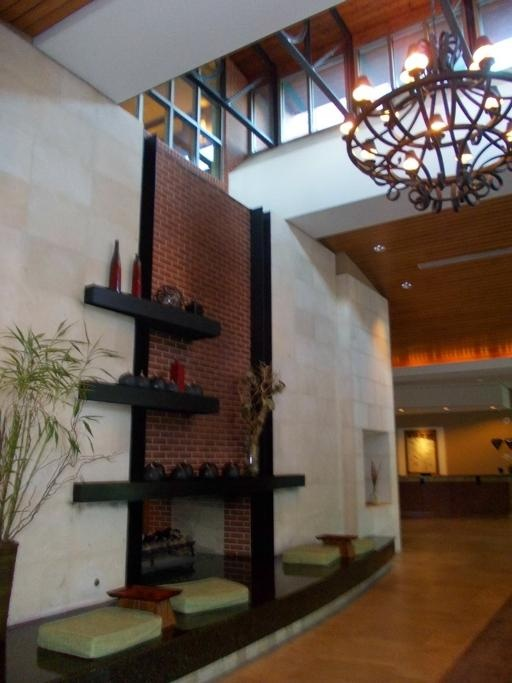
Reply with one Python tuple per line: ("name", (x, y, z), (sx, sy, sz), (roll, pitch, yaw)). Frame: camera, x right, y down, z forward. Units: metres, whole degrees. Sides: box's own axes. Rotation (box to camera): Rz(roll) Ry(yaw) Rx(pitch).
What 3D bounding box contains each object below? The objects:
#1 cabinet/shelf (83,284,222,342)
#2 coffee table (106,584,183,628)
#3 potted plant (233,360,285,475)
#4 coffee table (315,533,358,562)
("cabinet/shelf", (-0.776, -0.197, 4.133), (0.343, 0.220, 1.404), (4, -10, 29))
("coffee table", (-0.604, 1.441, 2.925), (0.298, 0.171, 0.309), (-7, -13, 30))
("potted plant", (0.014, 0.769, 5.383), (0.468, 1.100, 0.606), (9, -8, -5))
("coffee table", (0.871, 2.131, 5.471), (0.377, 0.209, 0.526), (11, -9, -10))
